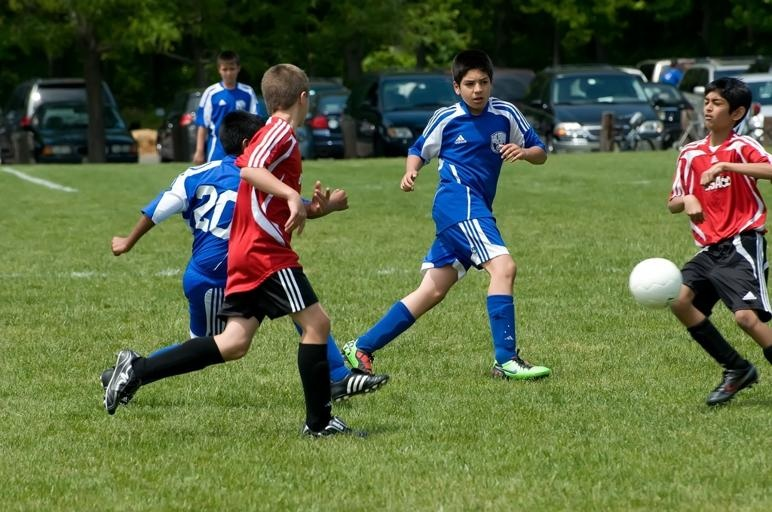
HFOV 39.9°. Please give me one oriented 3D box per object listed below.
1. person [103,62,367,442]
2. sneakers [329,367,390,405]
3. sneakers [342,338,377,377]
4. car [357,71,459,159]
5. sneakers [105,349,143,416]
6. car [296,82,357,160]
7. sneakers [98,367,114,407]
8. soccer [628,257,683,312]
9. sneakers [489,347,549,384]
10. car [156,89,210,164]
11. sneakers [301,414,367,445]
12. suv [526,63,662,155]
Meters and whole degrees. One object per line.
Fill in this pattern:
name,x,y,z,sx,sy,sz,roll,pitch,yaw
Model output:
person,-0.890,-0.048,7.054,1.470,2.384,0.539,3,11,-3
sneakers,-0.206,0.915,7.623,0.477,0.198,0.170,-15,17,11
sneakers,-0.203,0.782,8.164,0.182,0.371,0.132,-37,-20,-3
car,0.230,-2.900,21.111,1.306,1.000,2.194,-3,4,-12
sneakers,-1.796,0.883,7.299,0.180,0.419,0.142,21,-14,36
car,-1.317,-3.127,24.580,1.369,1.283,2.908,0,16,-2
sneakers,-1.925,0.894,7.296,0.118,0.267,0.092,0,-15,4
soccer,1.877,0.200,7.484,0.338,0.338,0.335,31,-20,15
sneakers,1.019,0.861,8.052,0.444,0.200,0.163,0,2,13
car,-4.623,-2.842,23.741,1.713,1.431,2.930,-2,16,-8
sneakers,-0.344,1.155,7.072,0.467,0.181,0.156,0,-3,-7
suv,4.295,-2.963,21.706,1.569,1.269,2.683,-1,5,-3
